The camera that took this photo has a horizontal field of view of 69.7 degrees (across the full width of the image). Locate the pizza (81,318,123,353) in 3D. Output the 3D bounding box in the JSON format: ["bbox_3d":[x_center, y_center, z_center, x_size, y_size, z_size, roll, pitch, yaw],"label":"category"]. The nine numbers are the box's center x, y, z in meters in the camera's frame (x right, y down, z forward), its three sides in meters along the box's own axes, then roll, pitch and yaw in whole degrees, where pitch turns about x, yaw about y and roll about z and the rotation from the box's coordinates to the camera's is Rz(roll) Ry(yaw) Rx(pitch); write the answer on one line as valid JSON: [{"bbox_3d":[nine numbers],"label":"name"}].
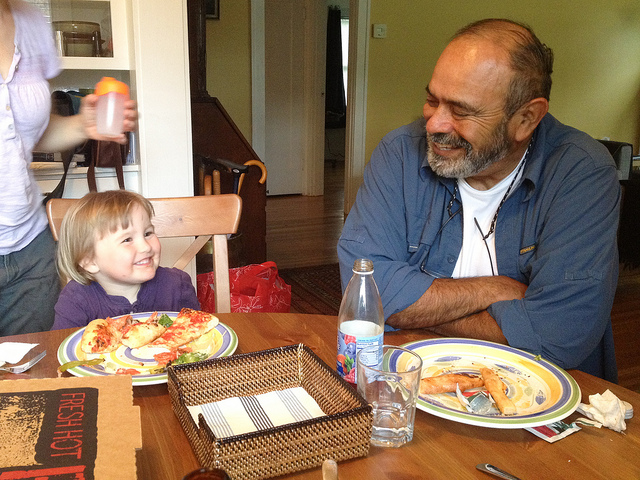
[{"bbox_3d":[-0.438,0.178,0.928,0.067,0.115,0.026,13,31,-27],"label":"pizza"}]

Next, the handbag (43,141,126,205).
[{"bbox_3d":[-1.055,-0.254,2.021,0.217,0.240,0.207,-15,27,13],"label":"handbag"}]

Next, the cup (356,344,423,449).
[{"bbox_3d":[0.089,0.256,0.783,0.124,0.156,0.132,1,13,0],"label":"cup"}]

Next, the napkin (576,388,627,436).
[{"bbox_3d":[0.468,0.286,0.767,0.055,0.021,0.060,-2,18,-29],"label":"napkin"}]

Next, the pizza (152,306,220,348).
[{"bbox_3d":[-0.277,0.179,0.982,0.106,0.160,0.022,19,30,-39],"label":"pizza"}]

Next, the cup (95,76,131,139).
[{"bbox_3d":[-0.648,-0.430,1.443,0.098,0.179,0.099,-2,7,0],"label":"cup"}]
